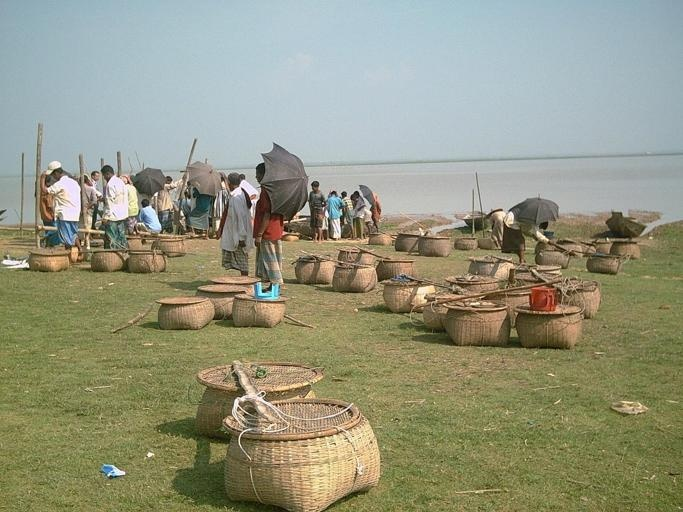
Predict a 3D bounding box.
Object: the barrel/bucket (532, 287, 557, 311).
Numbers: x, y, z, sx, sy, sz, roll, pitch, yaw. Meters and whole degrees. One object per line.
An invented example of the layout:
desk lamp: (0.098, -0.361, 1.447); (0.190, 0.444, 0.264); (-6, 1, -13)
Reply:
barrel/bucket: (2.921, 0.615, 9.727); (0.369, 0.310, 0.322); (4, 12, 15)

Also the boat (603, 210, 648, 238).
boat: (10.780, -1.099, 25.516); (1.246, 0.456, 1.184); (24, -13, 7)

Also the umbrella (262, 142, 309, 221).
umbrella: (-1.022, -1.278, 11.740); (0.658, 1.390, 0.963); (6, 13, 21)
